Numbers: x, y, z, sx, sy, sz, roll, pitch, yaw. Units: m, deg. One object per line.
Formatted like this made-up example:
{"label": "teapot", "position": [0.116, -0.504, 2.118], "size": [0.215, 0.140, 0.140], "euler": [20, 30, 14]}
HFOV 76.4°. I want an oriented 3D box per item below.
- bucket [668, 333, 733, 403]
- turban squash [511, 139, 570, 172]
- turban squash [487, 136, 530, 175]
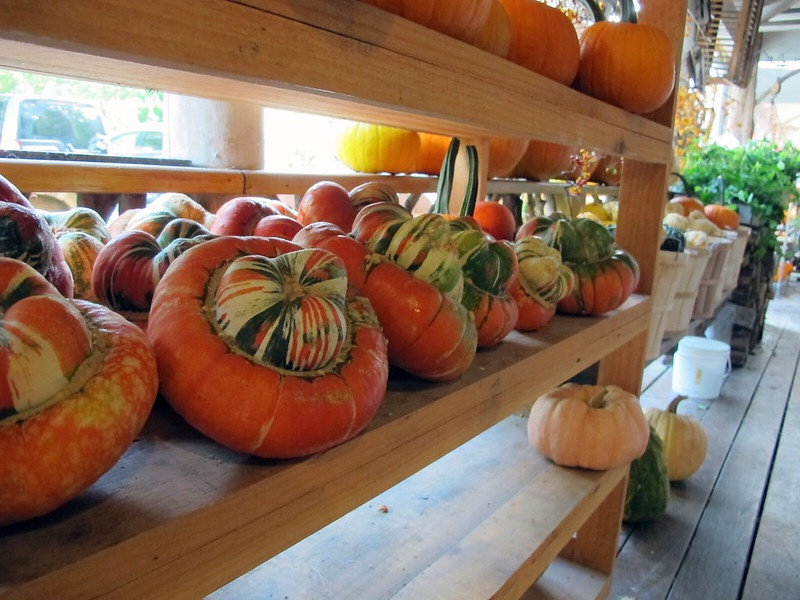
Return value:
{"label": "bucket", "position": [2.119, 0.494, 3.597], "size": [0.439, 0.428, 0.436], "euler": [1, 19, 0]}
{"label": "turban squash", "position": [0.599, -0.601, 2.164], "size": [0.223, 0.215, 0.227], "euler": [7, 21, 21]}
{"label": "turban squash", "position": [0.370, -0.500, 1.810], "size": [0.140, 0.098, 0.144], "euler": [12, 18, 43]}
